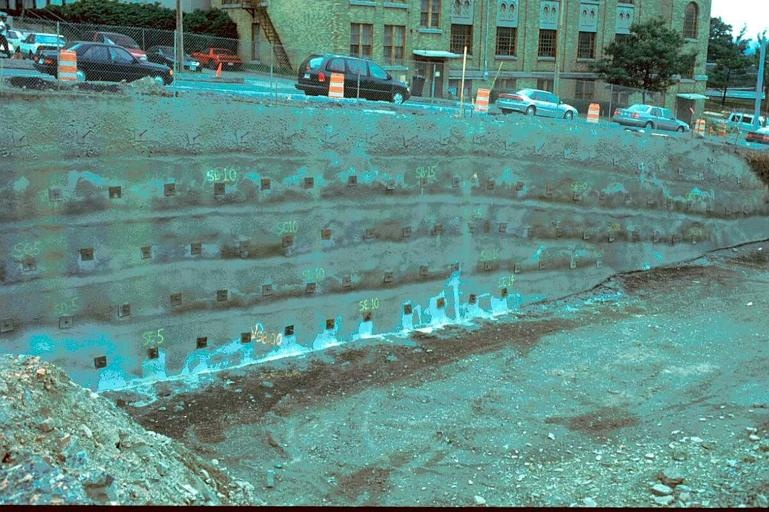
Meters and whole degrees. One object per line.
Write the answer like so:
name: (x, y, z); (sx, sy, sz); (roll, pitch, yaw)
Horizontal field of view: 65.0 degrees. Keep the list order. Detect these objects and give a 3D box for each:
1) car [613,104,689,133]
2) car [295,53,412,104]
car: (14.031, -7.345, 31.969); (4.738, 1.387, 0.953); (-5, 15, -21)
car: (-1.197, -7.290, 24.803); (4.410, 1.645, 1.945); (-9, 18, -32)
